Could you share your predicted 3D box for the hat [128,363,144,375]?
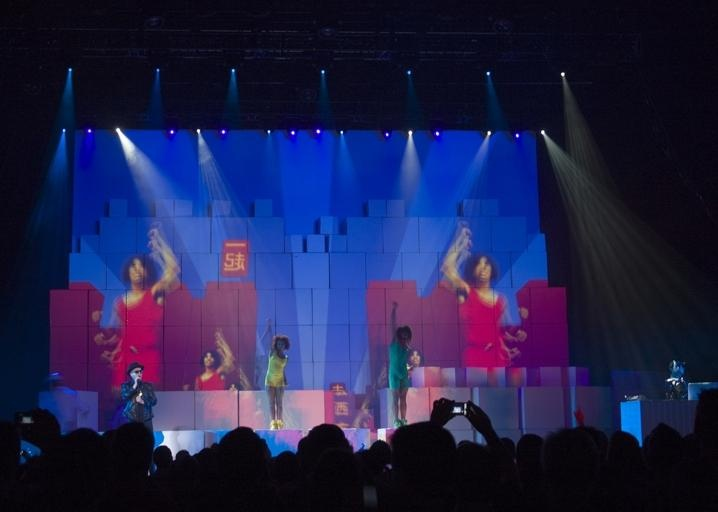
[{"bbox_3d":[-3.673,1.867,15.179,0.276,0.140,0.358,4,-25,-21],"label":"hat"}]
